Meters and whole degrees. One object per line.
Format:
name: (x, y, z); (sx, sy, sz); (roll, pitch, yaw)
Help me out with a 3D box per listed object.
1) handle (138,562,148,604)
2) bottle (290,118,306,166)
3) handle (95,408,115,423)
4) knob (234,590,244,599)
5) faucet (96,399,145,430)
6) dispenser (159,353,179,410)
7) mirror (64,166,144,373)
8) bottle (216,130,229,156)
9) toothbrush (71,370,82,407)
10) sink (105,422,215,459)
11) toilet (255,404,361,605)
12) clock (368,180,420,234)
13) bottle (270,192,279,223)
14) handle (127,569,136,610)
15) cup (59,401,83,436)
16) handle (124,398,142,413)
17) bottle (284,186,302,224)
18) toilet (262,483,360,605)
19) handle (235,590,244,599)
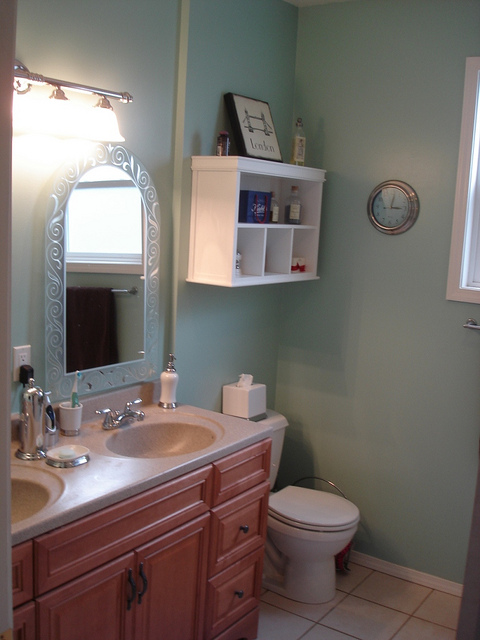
handle: (-0.283, 0.767, 1.481); (0.025, 0.129, 0.050); (1, 3, -7)
bottle: (0.318, -0.957, 2.739); (0.073, 0.269, 0.256); (2, 3, 6)
handle: (-0.492, 0.348, 1.855); (0.033, 0.048, 0.064); (5, 2, 28)
knob: (-0.001, 1.050, 1.944); (0.028, 0.027, 0.016); (3, -7, 18)
faucet: (-0.443, 0.332, 1.924); (0.074, 0.105, 0.203); (5, 8, 32)
dispenser: (-0.306, 0.255, 2.187); (0.077, 0.225, 0.166); (1, 3, -9)
mirror: (-0.497, -0.191, 1.907); (0.063, 0.748, 0.410); (3, 4, 27)
bottle: (-0.076, -0.767, 2.212); (0.041, 0.104, 0.029); (1, 3, -14)
toothbrush: (-0.577, 0.239, 1.796); (0.031, 0.129, 0.139); (1, 4, -15)
sink: (-0.300, 0.465, 1.898); (0.397, 0.123, 0.176); (1, 4, -22)
toilet: (0.270, 0.918, 2.523); (0.603, 0.814, 0.367); (4, 4, 37)
clock: (0.767, -0.576, 2.588); (0.235, 0.295, 0.070); (13, 33, 29)
bottle: (0.166, -0.548, 2.529); (0.043, 0.126, 0.048); (3, 3, 20)
handle: (-0.307, 0.762, 1.441); (0.027, 0.120, 0.014); (-1, 4, -36)
cup: (-0.582, 0.342, 1.797); (0.082, 0.123, 0.100); (1, 6, 2)
handle: (-0.421, 0.333, 1.983); (0.015, 0.055, 0.057); (5, 21, 43)
bottle: (0.284, -0.603, 2.705); (0.093, 0.195, 0.144); (2, 3, 7)
toilet: (0.343, 1.095, 2.487); (0.402, 0.486, 0.461); (-12, 17, -42)
handle: (0.000, 1.051, 1.944); (0.035, 0.030, 0.016); (32, -43, -31)
